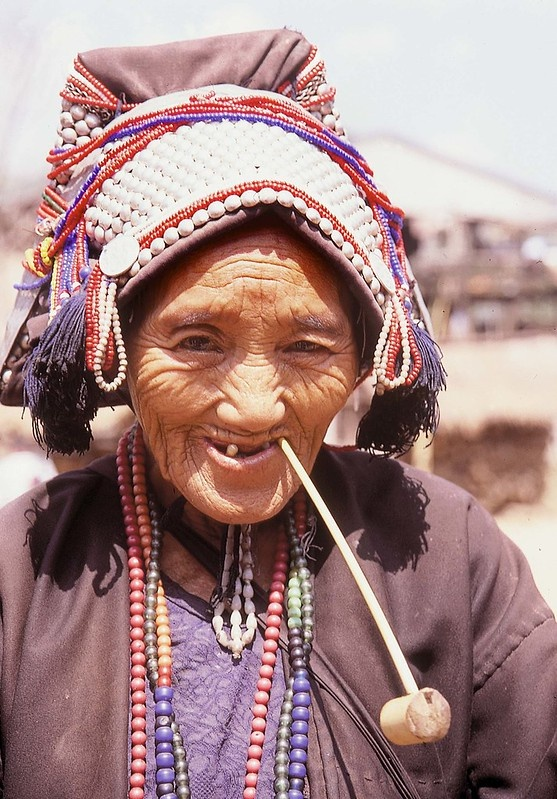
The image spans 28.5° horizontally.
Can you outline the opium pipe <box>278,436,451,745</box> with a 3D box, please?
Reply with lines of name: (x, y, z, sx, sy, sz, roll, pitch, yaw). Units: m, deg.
opium pipe: (0.107, 0.233, 2.143, 0.147, 0.138, 1.034, -15, 34, -12)
